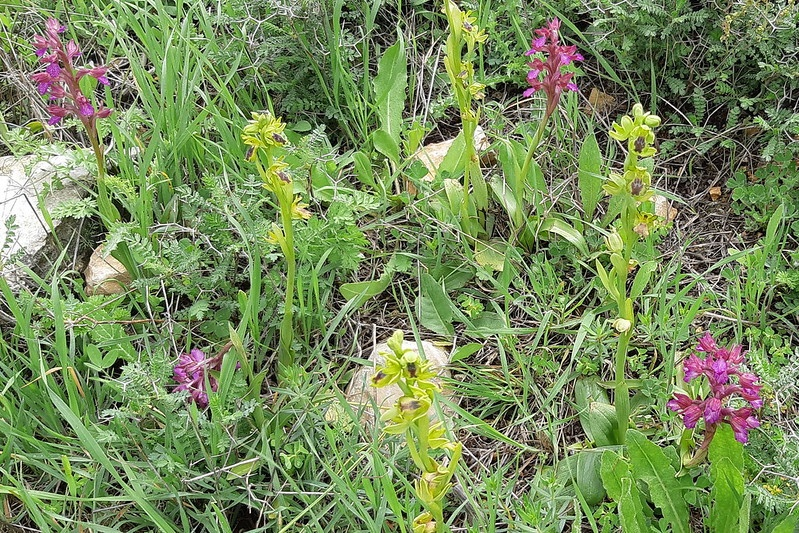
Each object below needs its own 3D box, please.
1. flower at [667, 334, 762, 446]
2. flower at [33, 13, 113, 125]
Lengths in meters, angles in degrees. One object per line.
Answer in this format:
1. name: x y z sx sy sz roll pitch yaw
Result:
1. flower: 1.094 0.438 2.196 0.282 0.261 0.287 25 53 21
2. flower: -1.323 -0.780 2.547 0.260 0.290 0.368 -24 52 -20
